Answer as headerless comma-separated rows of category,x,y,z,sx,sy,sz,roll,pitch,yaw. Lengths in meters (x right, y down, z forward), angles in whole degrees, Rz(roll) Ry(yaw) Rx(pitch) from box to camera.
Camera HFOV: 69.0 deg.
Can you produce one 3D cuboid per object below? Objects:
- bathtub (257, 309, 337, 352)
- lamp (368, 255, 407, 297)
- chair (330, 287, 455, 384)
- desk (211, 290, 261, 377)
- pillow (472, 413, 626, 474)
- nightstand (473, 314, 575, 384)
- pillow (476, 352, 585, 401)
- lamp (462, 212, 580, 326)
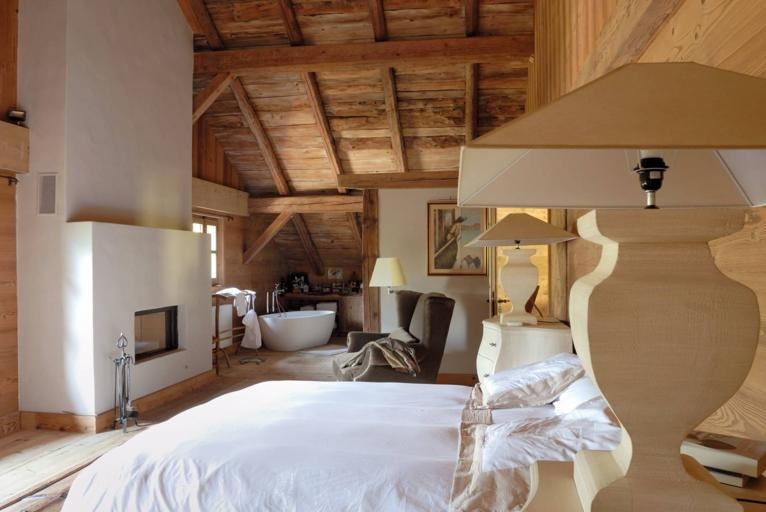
bathtub,-1.102,1.014,7.412,0.972,0.489,0.374,-6,11,-30
lamp,0.021,0.199,5.485,0.349,0.294,0.328,-4,5,22
chair,0.036,0.660,4.850,1.019,0.938,0.865,2,-8,-6
desk,-1.771,0.939,6.650,0.398,0.673,0.947,-1,-2,3
pillow,0.631,0.718,2.370,0.470,0.308,0.113,2,-26,-12
nightstand,1.049,0.817,4.103,0.613,0.599,0.694,1,-4,10
pillow,0.826,0.648,2.938,0.347,0.074,0.338,-16,17,-17
lamp,0.741,0.109,4.033,0.919,0.932,0.779,0,-5,0
